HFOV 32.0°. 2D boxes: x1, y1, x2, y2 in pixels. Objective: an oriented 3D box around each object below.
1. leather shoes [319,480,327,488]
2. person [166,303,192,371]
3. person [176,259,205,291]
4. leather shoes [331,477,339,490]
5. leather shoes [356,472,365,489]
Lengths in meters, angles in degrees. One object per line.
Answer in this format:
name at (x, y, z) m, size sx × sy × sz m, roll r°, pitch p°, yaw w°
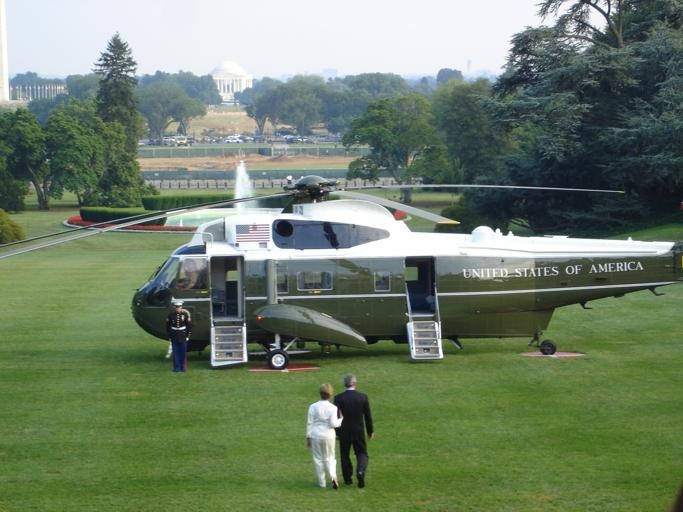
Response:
leather shoes at (-0.571, 6.667, 34.937) m, size 0.232 × 0.201 × 0.263 m, roll 2°, pitch 10°, yaw -1°
person at (-5.795, 2.848, 42.004) m, size 0.623 × 2.418 × 0.572 m, roll 1°, pitch 5°, yaw 26°
person at (-5.408, 0.644, 42.652) m, size 1.008 × 1.139 × 0.201 m, roll -2°, pitch 4°, yaw -13°
leather shoes at (-0.214, 6.614, 34.795) m, size 0.180 × 0.373 × 0.184 m, roll -4°, pitch 34°, yaw 4°
leather shoes at (0.543, 6.560, 34.837) m, size 0.242 × 0.447 × 0.218 m, roll -1°, pitch 30°, yaw 8°
